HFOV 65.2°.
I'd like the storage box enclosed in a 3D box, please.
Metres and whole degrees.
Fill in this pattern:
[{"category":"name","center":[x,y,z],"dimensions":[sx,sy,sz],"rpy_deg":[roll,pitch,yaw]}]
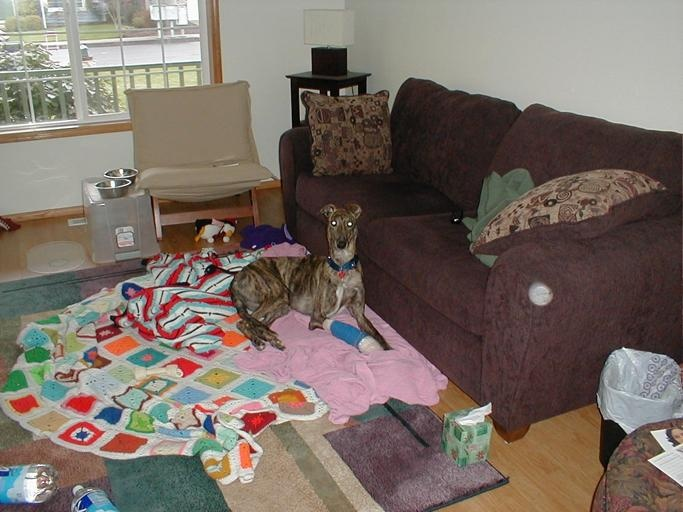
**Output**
[{"category":"storage box","center":[-1.491,-0.207,3.763],"dimensions":[0.489,0.461,0.681],"rpy_deg":[-9,28,-20]}]

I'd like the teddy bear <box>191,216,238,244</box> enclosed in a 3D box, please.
[{"category":"teddy bear","center":[-0.917,-0.197,3.911],"dimensions":[0.257,0.146,0.183],"rpy_deg":[-6,16,-25]}]

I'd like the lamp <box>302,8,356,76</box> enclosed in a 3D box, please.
[{"category":"lamp","center":[-0.106,-1.778,4.454],"dimensions":[0.397,0.516,0.246],"rpy_deg":[8,26,21]}]

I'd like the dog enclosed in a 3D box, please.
[{"category":"dog","center":[-0.142,0.111,2.830],"dimensions":[0.958,0.719,0.520],"rpy_deg":[5,15,27]}]

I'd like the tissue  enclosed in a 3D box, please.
[{"category":"tissue ","center":[0.530,0.723,2.156],"dimensions":[0.220,0.232,0.125],"rpy_deg":[-3,24,-3]}]

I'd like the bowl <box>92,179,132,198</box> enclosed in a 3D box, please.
[{"category":"bowl","center":[-1.575,-0.467,3.683],"dimensions":[0.208,0.075,0.206],"rpy_deg":[2,24,-1]}]
